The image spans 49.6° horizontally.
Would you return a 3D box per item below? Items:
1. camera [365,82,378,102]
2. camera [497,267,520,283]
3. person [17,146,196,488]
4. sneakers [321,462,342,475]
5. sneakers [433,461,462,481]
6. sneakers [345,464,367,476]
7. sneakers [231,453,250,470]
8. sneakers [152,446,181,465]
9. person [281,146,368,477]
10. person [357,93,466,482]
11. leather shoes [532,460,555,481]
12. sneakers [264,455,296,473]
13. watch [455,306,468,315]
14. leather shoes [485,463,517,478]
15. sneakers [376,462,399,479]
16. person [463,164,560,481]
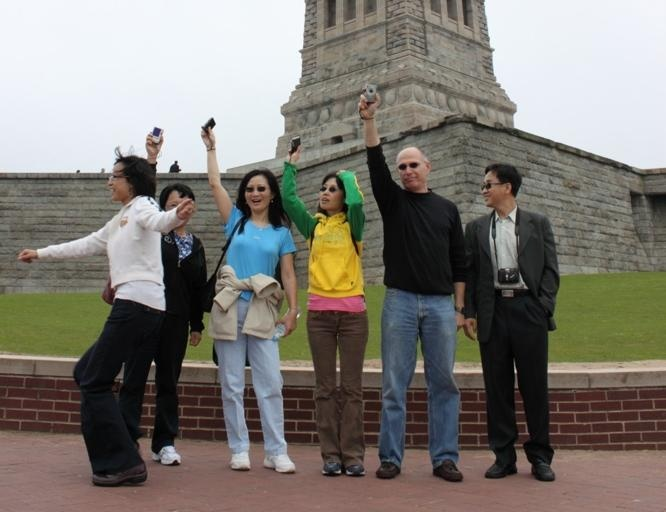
[{"bbox_3d":[0.308,-1.384,5.976,0.104,0.175,0.234,-2,-2,2],"label":"camera"},{"bbox_3d":[1.524,0.147,6.311,0.199,0.145,0.119,1,1,24],"label":"camera"},{"bbox_3d":[-1.635,0.461,5.817,0.768,2.664,1.053,-1,-2,-22],"label":"person"},{"bbox_3d":[-0.011,1.767,5.964,0.152,0.106,0.095,-2,-2,-7],"label":"sneakers"},{"bbox_3d":[0.946,1.766,5.951,0.155,0.145,0.293,-1,-2,-23],"label":"sneakers"},{"bbox_3d":[0.173,1.777,5.990,0.175,0.103,0.142,-2,-2,3],"label":"sneakers"},{"bbox_3d":[-0.794,1.746,6.162,0.174,0.148,0.170,-2,-2,-3],"label":"sneakers"},{"bbox_3d":[-1.468,1.768,6.360,0.120,0.124,0.300,11,-21,-38],"label":"sneakers"},{"bbox_3d":[-0.055,0.394,6.280,0.673,2.896,0.603,-2,-2,13],"label":"person"},{"bbox_3d":[0.728,0.241,6.202,0.868,3.255,0.681,-2,-2,4],"label":"person"},{"bbox_3d":[1.737,1.777,5.959,0.127,0.135,0.203,-2,-2,-6],"label":"leather shoes"},{"bbox_3d":[-0.451,1.759,6.107,0.116,0.120,0.294,6,-13,-37],"label":"sneakers"},{"bbox_3d":[1.128,0.472,6.396,0.067,0.047,0.072,-7,-24,25],"label":"watch"},{"bbox_3d":[1.430,1.803,6.057,0.319,0.139,0.104,13,-23,-34],"label":"leather shoes"},{"bbox_3d":[0.451,1.771,5.949,0.191,0.118,0.121,-2,-2,-2],"label":"sneakers"},{"bbox_3d":[1.546,0.496,6.286,0.810,2.737,0.615,-3,-2,17],"label":"person"}]
